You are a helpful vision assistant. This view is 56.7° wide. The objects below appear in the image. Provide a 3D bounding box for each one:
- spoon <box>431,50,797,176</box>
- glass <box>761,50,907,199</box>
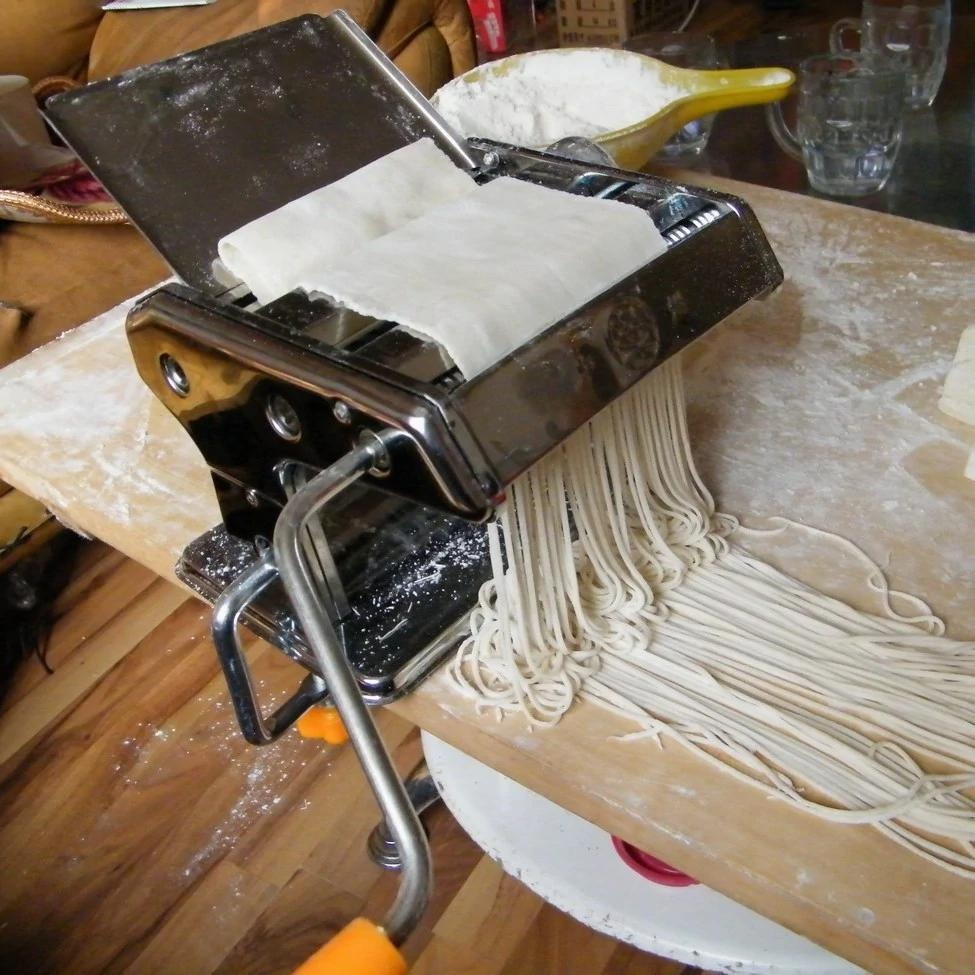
[{"bbox_3d":[0.240,-0.500,1.243,0.272,0.090,0.411,-40,35,-25],"label":"spoon"},{"bbox_3d":[0.503,-0.532,1.335,0.145,0.148,0.194,-23,29,-19],"label":"glass"}]
